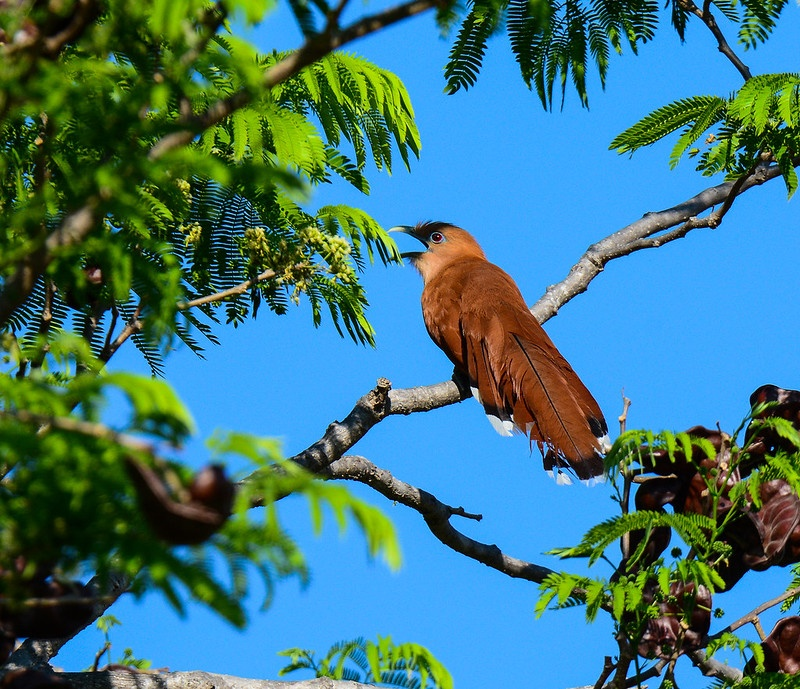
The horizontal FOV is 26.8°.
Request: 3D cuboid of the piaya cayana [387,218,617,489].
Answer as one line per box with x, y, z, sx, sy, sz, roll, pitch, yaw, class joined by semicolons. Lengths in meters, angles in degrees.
0.530;0.068;8.025;1.003;2.773;0.240;-37;-65;24;piaya cayana
